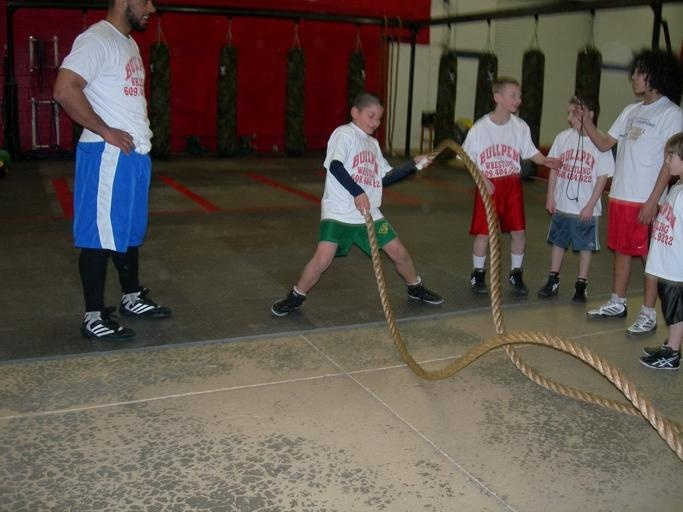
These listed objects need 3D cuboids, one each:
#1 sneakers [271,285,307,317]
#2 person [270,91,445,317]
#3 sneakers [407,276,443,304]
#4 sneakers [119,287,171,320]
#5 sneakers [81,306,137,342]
[{"bbox_3d":[-0.394,0.306,4.161,0.352,0.224,0.114,0,36,-35],"label":"sneakers"},{"bbox_3d":[0.118,-0.337,4.051,1.147,1.511,0.614,-8,16,-29],"label":"person"},{"bbox_3d":[0.672,0.254,4.477,0.375,0.205,0.122,6,19,17],"label":"sneakers"},{"bbox_3d":[-1.284,0.341,4.036,0.467,0.248,0.151,1,3,-7],"label":"sneakers"},{"bbox_3d":[-1.463,0.441,3.671,0.408,0.253,0.141,0,3,-8],"label":"sneakers"}]
